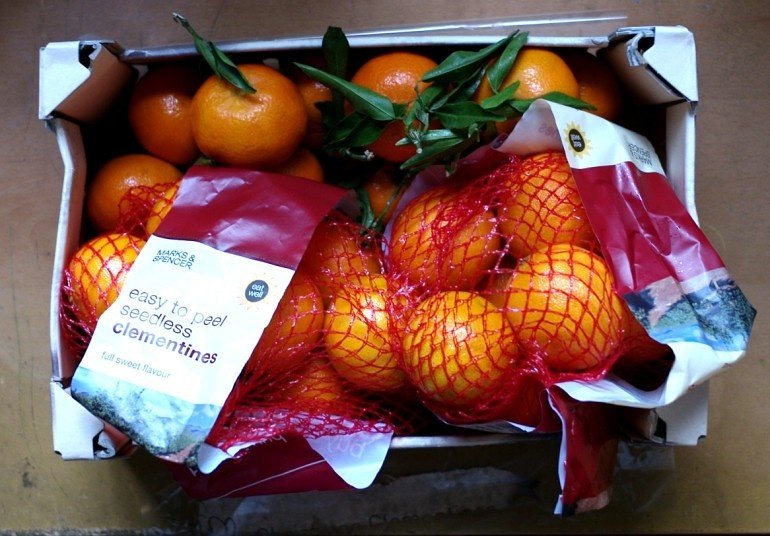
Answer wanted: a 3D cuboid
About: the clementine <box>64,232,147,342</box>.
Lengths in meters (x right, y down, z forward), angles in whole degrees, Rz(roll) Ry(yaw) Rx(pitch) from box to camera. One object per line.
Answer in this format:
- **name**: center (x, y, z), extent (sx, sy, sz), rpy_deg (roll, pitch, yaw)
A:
- **clementine**: center (-0.347, 0.027, 0.985), extent (0.105, 0.103, 0.127), rpy_deg (1, 90, -28)
